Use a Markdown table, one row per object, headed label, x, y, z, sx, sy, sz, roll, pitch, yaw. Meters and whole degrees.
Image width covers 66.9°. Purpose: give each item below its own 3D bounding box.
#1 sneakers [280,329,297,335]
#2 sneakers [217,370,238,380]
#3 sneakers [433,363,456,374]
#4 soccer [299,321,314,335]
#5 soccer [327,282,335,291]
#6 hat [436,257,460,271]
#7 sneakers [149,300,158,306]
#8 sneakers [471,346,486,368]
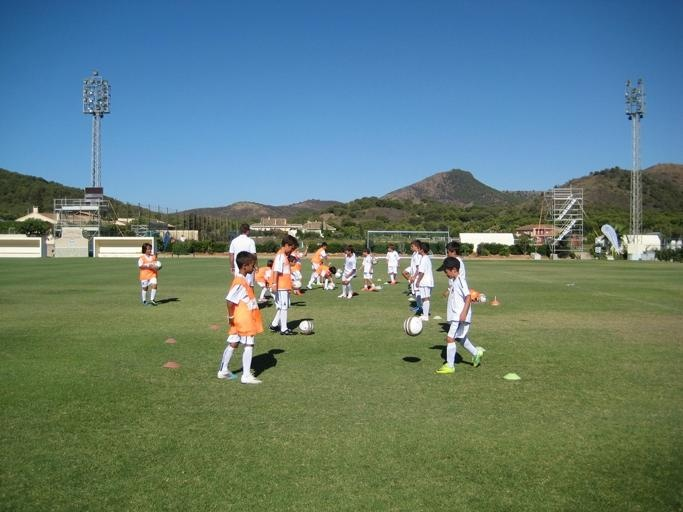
| label | x | y | z | sx | sy | sz | roll | pitch | yaw |
| --- | --- | --- | --- | --- | --- | --- | --- | --- | --- |
| sneakers | -1.119 | 1.607 | 11.034 | 0.291 | 0.119 | 0.143 | 1 | -2 | -7 |
| sneakers | -1.750 | 1.793 | 7.867 | 0.247 | 0.114 | 0.142 | 4 | 4 | -23 |
| sneakers | 1.645 | 1.812 | 8.250 | 0.330 | 0.168 | 0.125 | -3 | -11 | 16 |
| soccer | -0.745 | 1.535 | 11.132 | 0.293 | 0.279 | 0.299 | -5 | -1 | -3 |
| soccer | -0.430 | 1.228 | 20.856 | 0.345 | 0.184 | 0.296 | 2 | 3 | 35 |
| hat | 1.741 | 0.119 | 8.427 | 0.357 | 0.203 | 0.254 | -2 | -2 | 6 |
| sneakers | -5.563 | 1.376 | 15.279 | 0.117 | 0.137 | 0.325 | 3 | -1 | 6 |
| sneakers | 2.286 | 1.650 | 8.495 | 0.172 | 0.408 | 0.145 | 18 | 15 | 3 |
